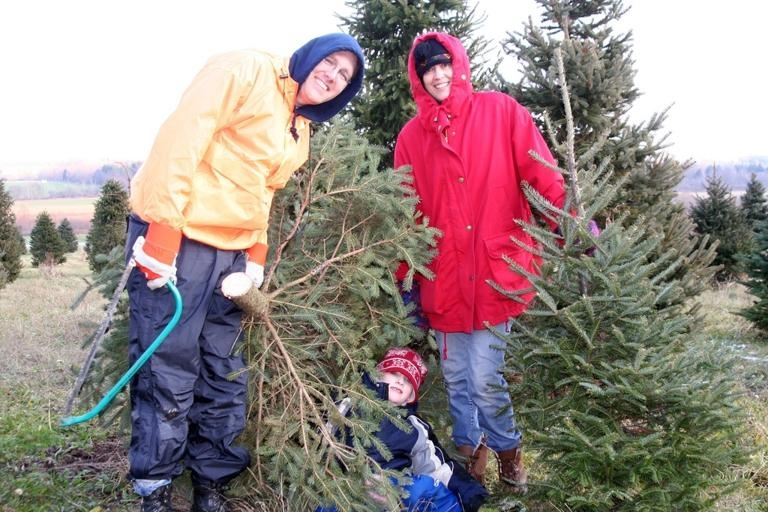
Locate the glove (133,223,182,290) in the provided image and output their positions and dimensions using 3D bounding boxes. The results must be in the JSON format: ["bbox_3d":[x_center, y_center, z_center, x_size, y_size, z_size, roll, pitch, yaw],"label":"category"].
[{"bbox_3d":[-1.666,0.011,4.473,0.359,0.481,0.187,11,5,5],"label":"glove"}]

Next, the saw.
[{"bbox_3d":[-1.973,0.710,4.422,0.086,1.824,0.596,-1,-25,43],"label":"saw"}]

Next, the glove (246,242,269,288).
[{"bbox_3d":[-1.064,0.077,4.950,0.194,0.330,0.116,3,-3,-8],"label":"glove"}]
